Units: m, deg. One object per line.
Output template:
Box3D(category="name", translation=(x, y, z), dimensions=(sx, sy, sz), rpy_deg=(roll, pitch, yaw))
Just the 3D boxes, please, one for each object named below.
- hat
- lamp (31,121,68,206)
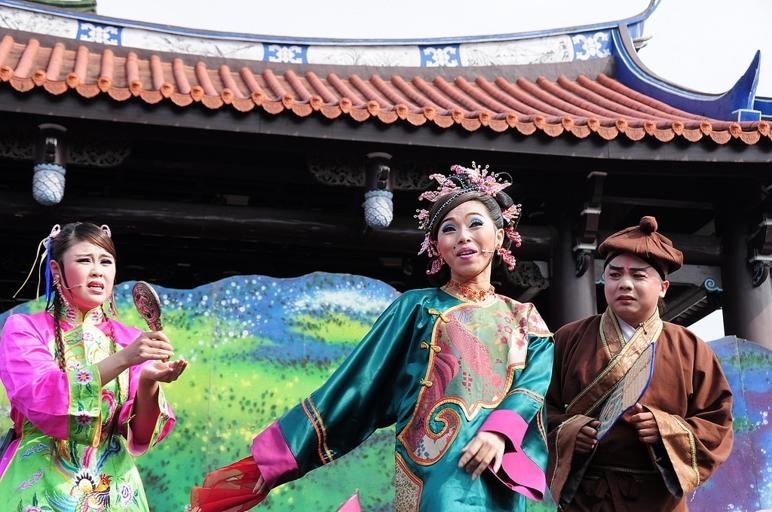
Box3D(category="hat", translation=(1.668, -0.047, 5.427), dimensions=(0.621, 0.385, 0.610), rpy_deg=(14, 10, 37))
Box3D(category="lamp", translation=(-2.891, -0.785, 6.947), dimensions=(0.240, 0.743, 0.233), rpy_deg=(3, 0, -24))
